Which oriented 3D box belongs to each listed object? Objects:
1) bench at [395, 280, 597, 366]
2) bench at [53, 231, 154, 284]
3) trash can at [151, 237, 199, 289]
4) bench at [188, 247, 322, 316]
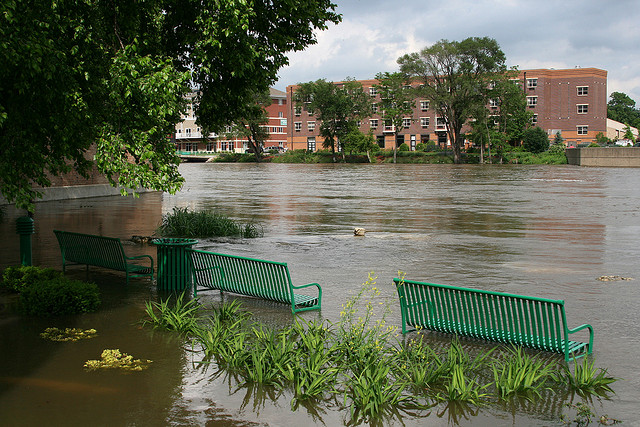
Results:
[{"bbox_3d":[2.920,1.748,10.722,3.127,1.204,1.094,3,13,45],"label":"bench"},{"bbox_3d":[-5.356,1.032,14.919,2.809,1.140,0.959,4,4,38],"label":"bench"},{"bbox_3d":[-3.286,1.176,13.752,0.907,1.004,0.938,0,0,32],"label":"trash can"},{"bbox_3d":[-1.482,1.416,13.230,3.060,1.269,1.166,5,8,37],"label":"bench"}]
